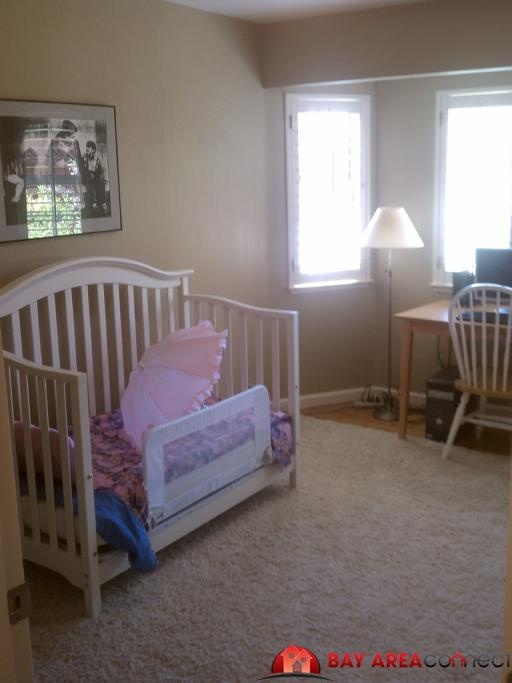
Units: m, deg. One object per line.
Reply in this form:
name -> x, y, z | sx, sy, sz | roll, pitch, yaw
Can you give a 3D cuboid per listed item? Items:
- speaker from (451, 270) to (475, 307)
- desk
speaker -> 1.242, -0.329, 3.249 | 0.116, 0.330, 0.162 | 2, 8, 12
desk -> 1.178, 0.079, 3.338 | 0.471, 1.045, 0.678 | 5, 12, 35
